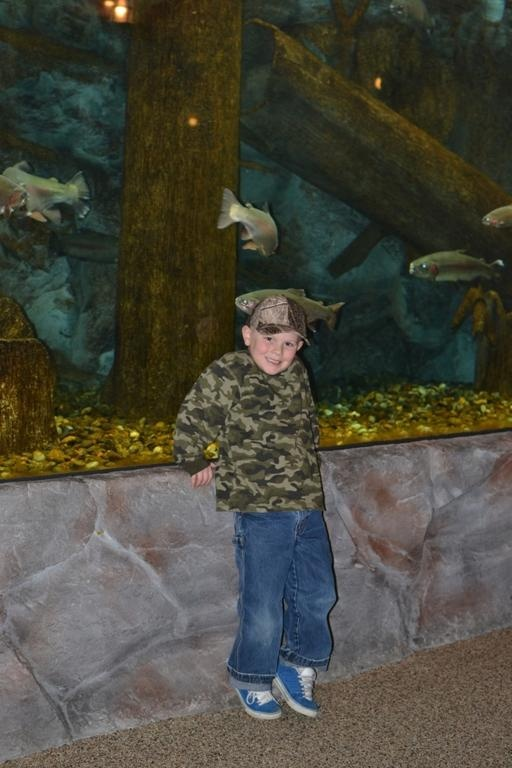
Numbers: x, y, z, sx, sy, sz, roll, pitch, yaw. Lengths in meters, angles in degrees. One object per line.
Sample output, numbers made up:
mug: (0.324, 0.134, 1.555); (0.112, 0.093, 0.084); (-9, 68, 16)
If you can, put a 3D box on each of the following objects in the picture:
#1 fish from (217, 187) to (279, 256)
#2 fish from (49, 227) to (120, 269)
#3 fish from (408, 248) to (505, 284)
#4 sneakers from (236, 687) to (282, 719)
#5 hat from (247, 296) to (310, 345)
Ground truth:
fish: (-0.020, -0.553, 2.556); (0.226, 0.198, 0.110); (7, 34, -9)
fish: (-0.503, -0.413, 2.242); (0.214, 0.060, 0.081); (2, -4, -32)
fish: (0.837, -0.490, 3.121); (0.604, 0.123, 0.076); (-11, 41, -32)
sneakers: (-0.006, 1.027, 2.442); (0.081, 0.084, 0.194); (4, -8, -32)
hat: (0.073, -0.206, 2.309); (0.168, 0.105, 0.139); (5, 33, -11)
